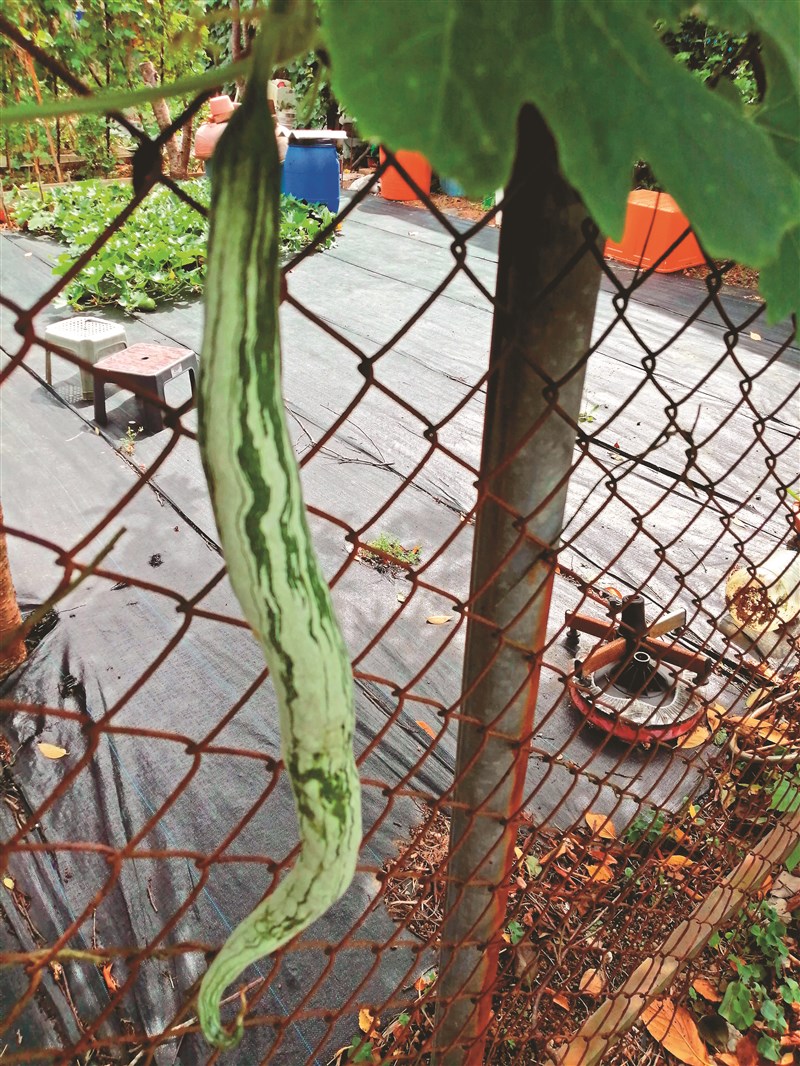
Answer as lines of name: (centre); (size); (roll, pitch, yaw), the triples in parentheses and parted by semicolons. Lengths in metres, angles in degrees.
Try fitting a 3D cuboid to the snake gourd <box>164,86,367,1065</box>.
snake gourd: (-0.066, 0.042, 0.483); (0.075, 0.488, 0.085); (2, 13, 37)
